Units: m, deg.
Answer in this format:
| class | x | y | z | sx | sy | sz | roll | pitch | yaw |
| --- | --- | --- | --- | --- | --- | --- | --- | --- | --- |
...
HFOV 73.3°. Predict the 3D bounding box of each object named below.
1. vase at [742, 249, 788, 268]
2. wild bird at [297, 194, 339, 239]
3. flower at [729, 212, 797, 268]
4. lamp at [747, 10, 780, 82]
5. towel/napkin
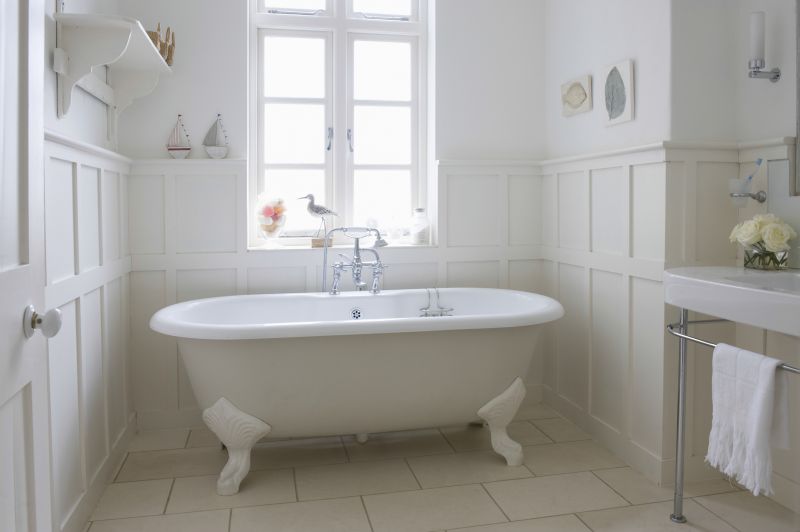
| class | x | y | z | sx | sy | sz | roll | pitch | yaw |
| --- | --- | --- | --- | --- | --- | --- | --- | --- | --- |
| vase | 1.844 | -0.056 | 2.681 | 0.097 | 0.064 | 0.138 | -2 | 3 | -13 |
| wild bird | -0.598 | -0.366 | 3.918 | 0.273 | 0.306 | 0.301 | -2 | 12 | -9 |
| flower | 1.789 | -0.121 | 2.705 | 0.259 | 0.245 | 0.267 | -2 | 3 | 5 |
| lamp | 1.803 | -1.068 | 2.661 | 0.183 | 0.322 | 0.117 | -7 | 14 | -28 |
| towel/napkin | 1.458 | 0.641 | 2.269 | 0.317 | 0.543 | 0.278 | 11 | 16 | 41 |
